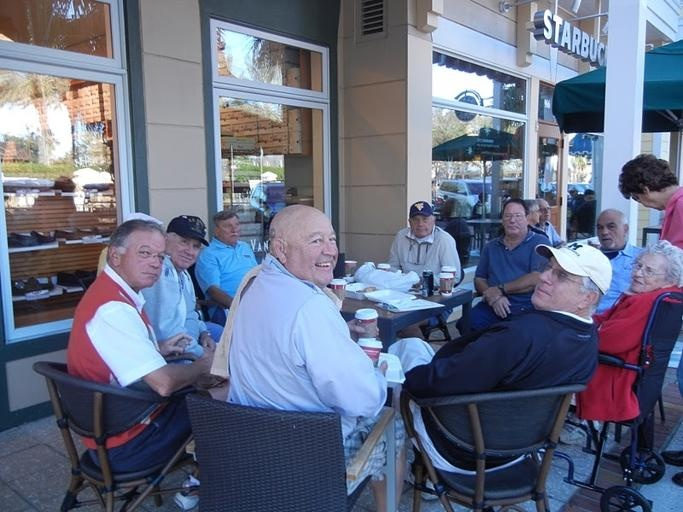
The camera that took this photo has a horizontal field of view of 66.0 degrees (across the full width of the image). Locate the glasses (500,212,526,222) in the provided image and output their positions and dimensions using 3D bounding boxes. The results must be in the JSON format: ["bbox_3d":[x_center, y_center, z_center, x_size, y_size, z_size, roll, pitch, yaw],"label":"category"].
[{"bbox_3d":[1.383,-0.310,4.169,0.182,0.064,0.080,0,9,8],"label":"glasses"}]

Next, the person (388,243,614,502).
[{"bbox_3d":[0.804,0.489,2.504,0.924,1.031,0.597,-8,11,-34],"label":"person"}]

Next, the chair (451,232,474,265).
[{"bbox_3d":[1.551,-0.102,7.020,0.231,0.213,0.317,13,-2,-42],"label":"chair"}]

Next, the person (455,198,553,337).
[{"bbox_3d":[1.314,0.181,4.198,0.726,1.268,0.687,-4,8,-26],"label":"person"}]

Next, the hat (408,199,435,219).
[{"bbox_3d":[0.700,-0.414,4.609,0.138,0.111,0.202,-2,-8,11],"label":"hat"}]

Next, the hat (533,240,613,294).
[{"bbox_3d":[1.129,0.022,2.542,0.314,0.167,0.211,36,5,-13],"label":"hat"}]

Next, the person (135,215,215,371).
[{"bbox_3d":[-0.987,0.206,3.349,0.521,0.891,0.526,-1,-2,-8],"label":"person"}]

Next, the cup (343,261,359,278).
[{"bbox_3d":[0.076,0.106,4.278,0.109,0.135,0.127,1,10,-2],"label":"cup"}]

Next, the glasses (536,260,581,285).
[{"bbox_3d":[1.049,0.086,2.599,0.220,0.131,0.141,6,-2,-13],"label":"glasses"}]

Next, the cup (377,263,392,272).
[{"bbox_3d":[0.334,0.088,4.133,0.077,0.080,0.081,0,4,0],"label":"cup"}]

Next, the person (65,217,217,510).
[{"bbox_3d":[-0.956,0.538,2.741,0.777,1.439,0.764,-4,3,-22],"label":"person"}]

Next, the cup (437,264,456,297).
[{"bbox_3d":[0.805,0.190,3.928,0.172,0.278,0.181,0,5,0],"label":"cup"}]

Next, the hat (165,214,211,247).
[{"bbox_3d":[-1.077,-0.182,3.633,0.226,0.128,0.172,12,-1,31],"label":"hat"}]

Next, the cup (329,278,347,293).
[{"bbox_3d":[-0.022,0.195,3.452,0.094,0.104,0.099,-1,9,0],"label":"cup"}]

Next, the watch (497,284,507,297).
[{"bbox_3d":[1.254,0.268,4.100,0.053,0.076,0.083,-7,35,29],"label":"watch"}]
